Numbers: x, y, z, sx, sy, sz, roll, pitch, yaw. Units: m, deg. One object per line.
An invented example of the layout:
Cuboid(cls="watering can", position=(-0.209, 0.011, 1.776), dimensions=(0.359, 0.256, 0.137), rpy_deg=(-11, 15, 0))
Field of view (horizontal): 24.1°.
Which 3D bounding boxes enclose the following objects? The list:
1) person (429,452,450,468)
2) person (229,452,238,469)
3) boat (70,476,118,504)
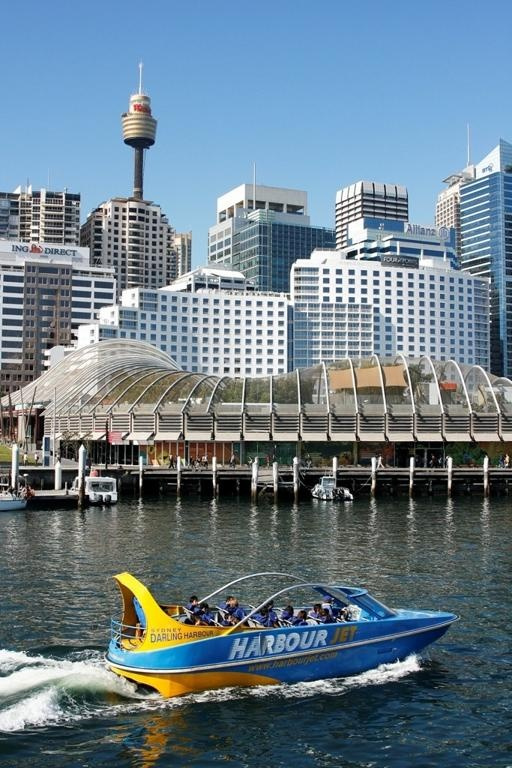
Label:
Cuboid(cls="person", position=(15.217, 6.190, 99.685), dimensions=(1.035, 1.221, 0.602), rpy_deg=(1, 7, 1))
Cuboid(cls="person", position=(-1.776, 5.991, 98.458), dimensions=(0.742, 1.000, 1.770), rpy_deg=(0, -2, -1))
Cuboid(cls="boat", position=(-10.468, 7.141, 81.268), dimensions=(2.286, 1.822, 1.470), rpy_deg=(1, -2, -26))
